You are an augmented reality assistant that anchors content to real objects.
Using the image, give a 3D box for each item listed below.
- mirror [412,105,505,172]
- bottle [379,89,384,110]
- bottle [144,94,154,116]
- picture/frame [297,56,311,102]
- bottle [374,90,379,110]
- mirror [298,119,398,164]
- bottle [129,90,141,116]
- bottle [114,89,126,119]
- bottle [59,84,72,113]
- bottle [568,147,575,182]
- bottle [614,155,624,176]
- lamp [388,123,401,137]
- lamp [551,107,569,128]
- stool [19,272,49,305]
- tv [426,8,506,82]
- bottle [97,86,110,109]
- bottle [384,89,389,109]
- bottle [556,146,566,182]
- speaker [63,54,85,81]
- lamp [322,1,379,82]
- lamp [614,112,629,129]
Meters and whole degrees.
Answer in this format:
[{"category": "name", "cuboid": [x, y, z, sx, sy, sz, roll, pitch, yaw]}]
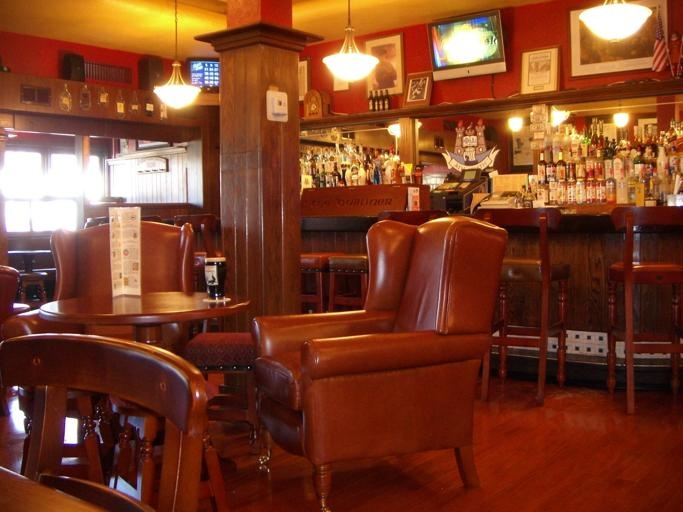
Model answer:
[{"category": "mirror", "cuboid": [1.753, -1.829, 9.042, 1.628, 1.062, 0.232, 0, -7, -20]}, {"category": "bottle", "cuboid": [0.590, -2.328, 8.749, 0.077, 0.301, 0.150, -1, 4, 0]}, {"category": "bottle", "cuboid": [-2.790, -2.177, 8.494, 0.056, 0.333, 0.179, 2, 5, 32]}, {"category": "picture/frame", "cuboid": [-0.647, -2.878, 9.644, 0.229, 0.673, 0.118, 3, 5, 43]}, {"category": "bottle", "cuboid": [0.511, -2.343, 8.808, 0.069, 0.297, 0.121, 0, 4, 4]}, {"category": "mirror", "cuboid": [0.027, -1.634, 8.317, 1.252, 0.776, 0.393, 0, -1, -2]}, {"category": "bottle", "cuboid": [-2.952, -2.162, 8.349, 0.021, 0.315, 0.161, 3, 5, 44]}, {"category": "bottle", "cuboid": [-3.102, -2.127, 8.205, 0.135, 0.364, 0.047, -3, 4, -27]}, {"category": "bottle", "cuboid": [-3.619, -2.070, 7.707, 0.042, 0.346, 0.168, 2, 5, 34]}, {"category": "bottle", "cuboid": [2.555, -1.013, 6.550, 0.083, 0.370, 0.363, 1, 4, 21]}, {"category": "bottle", "cuboid": [2.838, -0.903, 6.029, 0.088, 0.202, 0.054, 1, 4, 20]}, {"category": "lamp", "cuboid": [0.764, -1.826, 8.518, 0.049, 0.199, 0.183, 1, -1, -39]}, {"category": "lamp", "cuboid": [2.747, -1.764, 7.470, 0.264, 0.307, 0.073, -6, 41, -8]}, {"category": "stool", "cuboid": [-4.130, 0.411, 7.845, 0.479, 0.576, 0.490, 0, -3, -30]}, {"category": "tv", "cuboid": [1.738, -2.907, 8.035, 0.938, 0.834, 0.097, -1, 7, 36]}, {"category": "bottle", "cuboid": [-3.271, -2.158, 8.044, 0.155, 0.282, 0.055, -3, 4, -31]}, {"category": "bottle", "cuboid": [0.660, -2.329, 8.736, 0.079, 0.309, 0.157, 0, 4, 5]}, {"category": "bottle", "cuboid": [2.446, -1.017, 6.560, 0.111, 0.370, 0.330, 1, 4, 19]}, {"category": "speaker", "cuboid": [-3.639, -2.541, 7.947, 0.264, 0.435, 0.387, -3, 5, -32]}, {"category": "lamp", "cuboid": [0.036, -2.078, 5.633, 0.411, 0.646, 0.543, 2, 5, 33]}, {"category": "lamp", "cuboid": [3.587, -1.743, 7.561, 0.155, 0.195, 0.165, -1, 14, -5]}]
